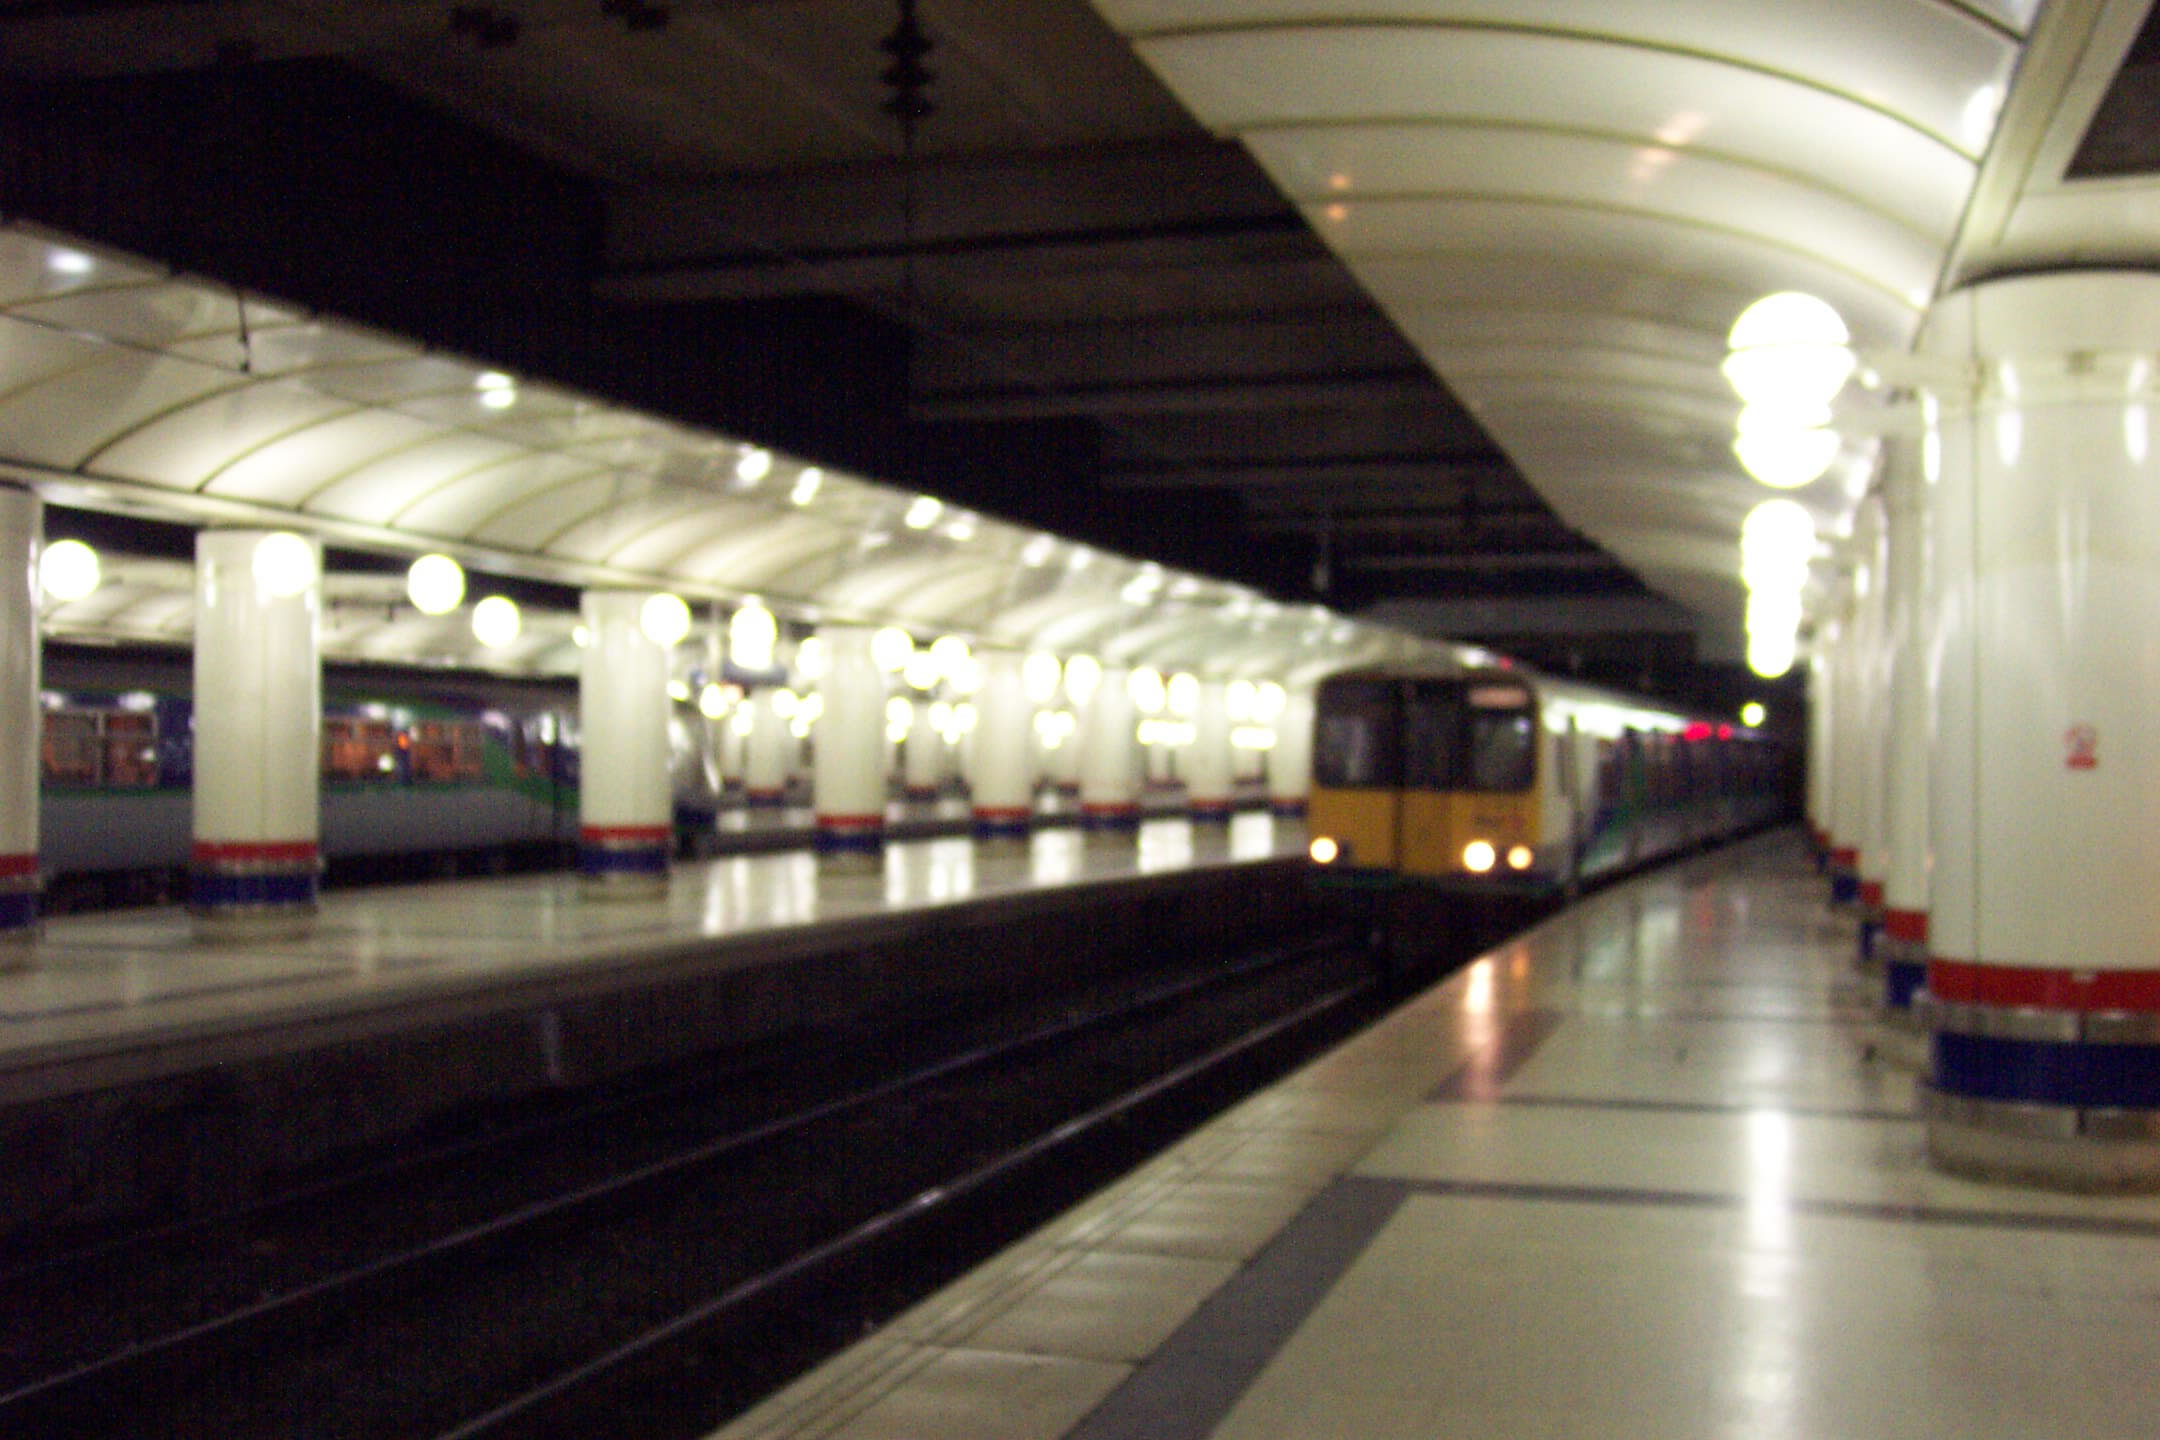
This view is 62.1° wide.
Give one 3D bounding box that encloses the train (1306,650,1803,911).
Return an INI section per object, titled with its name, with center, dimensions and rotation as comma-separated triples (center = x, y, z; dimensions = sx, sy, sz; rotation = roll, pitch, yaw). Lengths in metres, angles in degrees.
[train]
center = 8.322, 1.141, 29.850
dimensions = 3.012, 3.217, 19.721
rotation = -1, -3, 22
